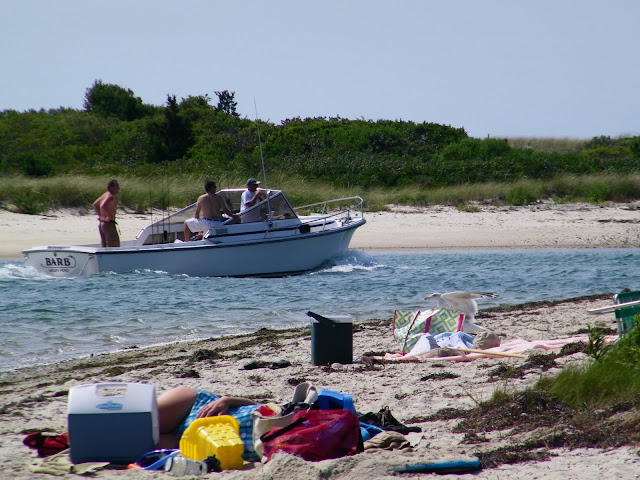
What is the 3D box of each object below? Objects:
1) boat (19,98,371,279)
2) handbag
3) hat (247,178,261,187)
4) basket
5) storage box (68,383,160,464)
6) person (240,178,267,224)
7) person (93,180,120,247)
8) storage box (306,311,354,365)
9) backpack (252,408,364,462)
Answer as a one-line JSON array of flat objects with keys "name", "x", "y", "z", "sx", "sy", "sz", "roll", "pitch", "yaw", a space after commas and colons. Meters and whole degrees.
[{"name": "boat", "x": -2.281, "y": 0.060, "z": 22.919, "sx": 8.752, "sy": 2.939, "sz": 2.618, "roll": -3, "pitch": 6, "yaw": -19}, {"name": "handbag", "x": 1.706, "y": 1.360, "z": 15.374, "sx": 0.882, "sy": 0.701, "sz": 0.270, "roll": -6, "pitch": -27, "yaw": 11}, {"name": "hat", "x": -1.442, "y": -1.287, "z": 21.644, "sx": 0.286, "sy": 0.131, "sz": 0.205, "roll": -6, "pitch": 7, "yaw": -10}, {"name": "basket", "x": -1.340, "y": 2.440, "z": 11.801, "sx": 0.590, "sy": 0.589, "sz": 0.683, "roll": -1, "pitch": -1, "yaw": -30}, {"name": "storage box", "x": -2.469, "y": 2.186, "z": 11.985, "sx": 1.391, "sy": 1.063, "sz": 0.922, "roll": -1, "pitch": -5, "yaw": -4}, {"name": "person", "x": -1.452, "y": -0.869, "z": 21.758, "sx": 0.610, "sy": 0.965, "sz": 0.608, "roll": 0, "pitch": 0, "yaw": -3}, {"name": "person", "x": -4.477, "y": -0.519, "z": 20.931, "sx": 0.665, "sy": 1.569, "sz": 0.565, "roll": 10, "pitch": 15, "yaw": 31}, {"name": "storage box", "x": 0.167, "y": 1.481, "z": 14.537, "sx": 0.663, "sy": 0.810, "sz": 0.452, "roll": 0, "pitch": 0, "yaw": 1}, {"name": "backpack", "x": -0.078, "y": 2.284, "z": 11.414, "sx": 1.162, "sy": 0.607, "sz": 0.398, "roll": 0, "pitch": 0, "yaw": -7}]
